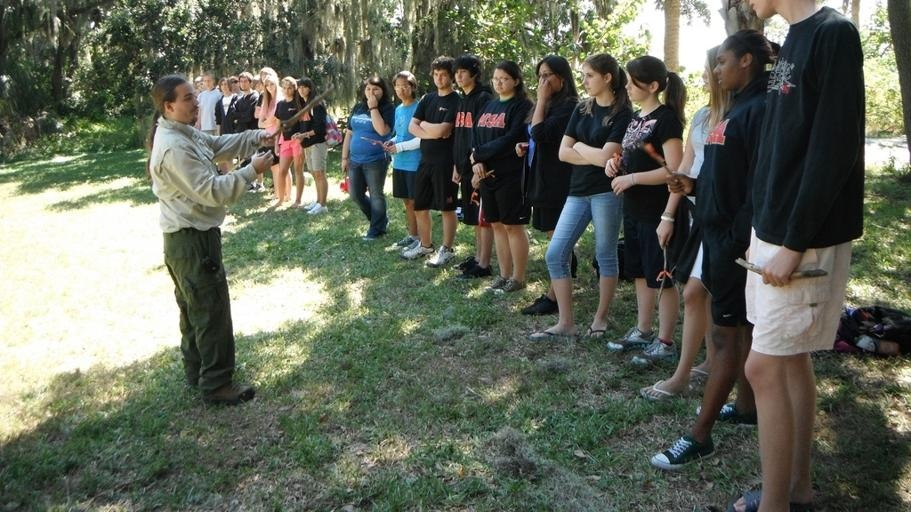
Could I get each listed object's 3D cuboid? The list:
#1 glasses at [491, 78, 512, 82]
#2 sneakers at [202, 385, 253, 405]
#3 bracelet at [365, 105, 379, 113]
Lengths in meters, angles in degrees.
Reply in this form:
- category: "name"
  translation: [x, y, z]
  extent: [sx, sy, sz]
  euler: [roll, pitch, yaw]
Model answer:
- category: "glasses"
  translation: [0.591, -2.298, 8.259]
  extent: [0.214, 0.071, 0.062]
  euler: [8, 21, 33]
- category: "sneakers"
  translation: [-2.371, 1.512, 6.695]
  extent: [0.501, 0.248, 0.200]
  euler: [-5, 13, -7]
- category: "bracelet"
  translation: [-1.348, -2.377, 10.391]
  extent: [0.063, 0.175, 0.131]
  euler: [-25, -1, 36]
